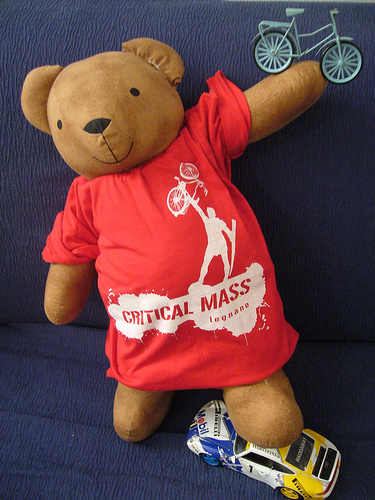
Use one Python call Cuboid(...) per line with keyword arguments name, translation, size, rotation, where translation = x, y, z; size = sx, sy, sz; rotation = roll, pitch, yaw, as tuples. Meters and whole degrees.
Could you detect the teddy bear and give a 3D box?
Cuboid(name="teddy bear", translation=(-0.006, -0.019, 0.840), size=(0.492, 0.160, 0.629), rotation=(-14, 92, 4))
